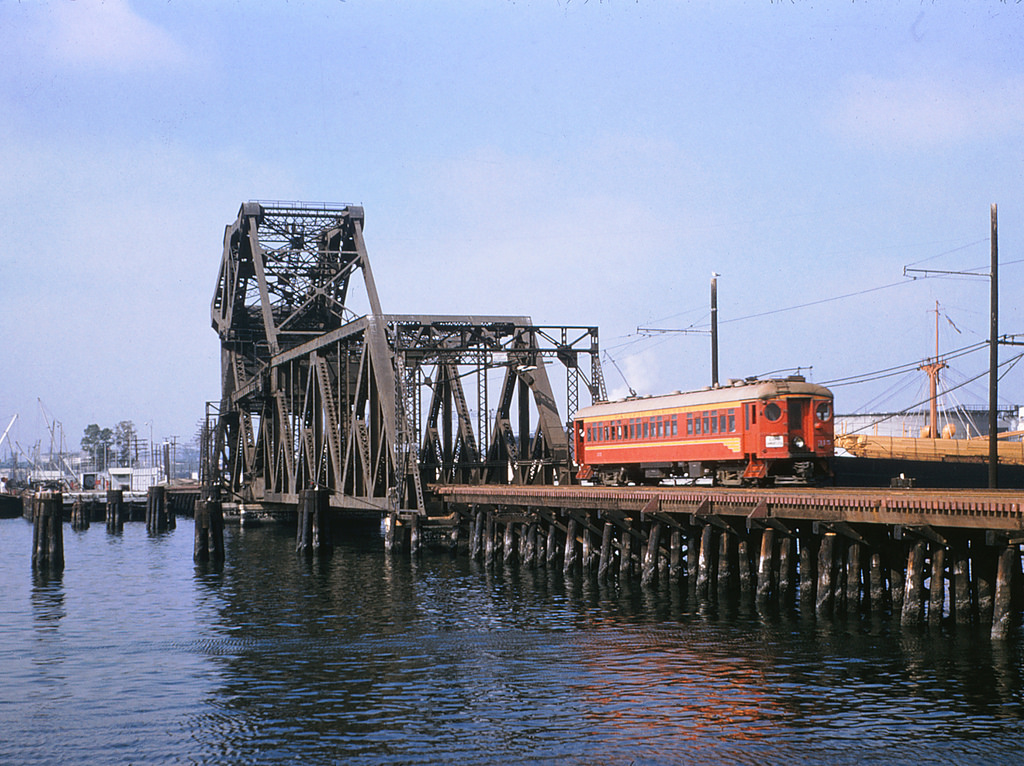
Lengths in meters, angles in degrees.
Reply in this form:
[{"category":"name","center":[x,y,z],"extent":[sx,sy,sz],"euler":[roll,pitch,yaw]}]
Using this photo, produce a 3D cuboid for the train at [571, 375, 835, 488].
[{"category":"train","center":[7.292,2.415,74.844],"extent":[3.889,4.693,15.919],"euler":[0,-3,-28]}]
